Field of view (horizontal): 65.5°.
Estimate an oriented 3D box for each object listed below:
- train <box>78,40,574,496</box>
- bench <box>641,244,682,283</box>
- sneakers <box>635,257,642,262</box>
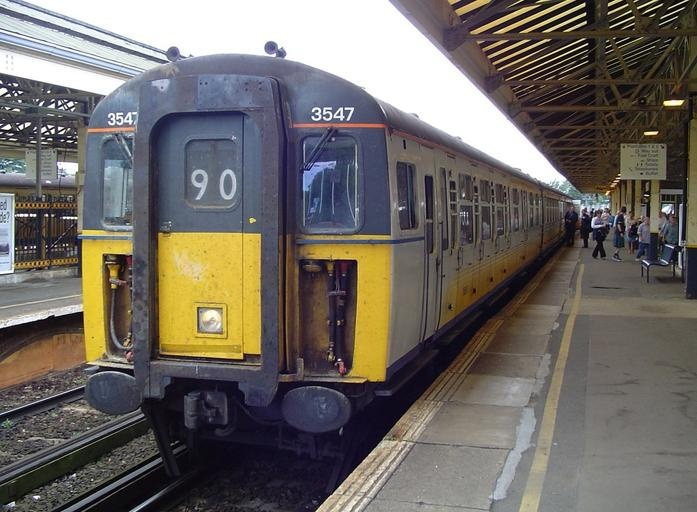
[{"bbox_3d":[-0.272,-0.025,6.744,5.281,4.798,2.599,-6,6,-44],"label":"train"},{"bbox_3d":[10.571,0.261,18.336,0.654,0.855,1.114,-1,3,15],"label":"bench"},{"bbox_3d":[11.993,0.120,22.491,0.108,0.141,0.318,3,19,37],"label":"sneakers"}]
